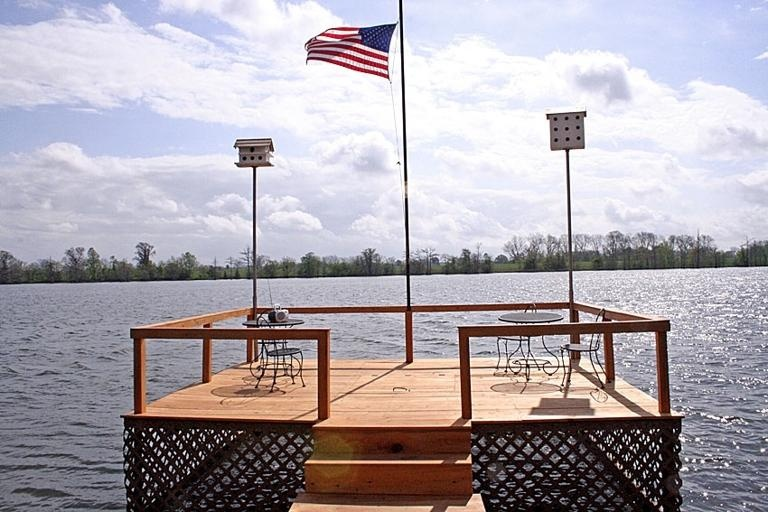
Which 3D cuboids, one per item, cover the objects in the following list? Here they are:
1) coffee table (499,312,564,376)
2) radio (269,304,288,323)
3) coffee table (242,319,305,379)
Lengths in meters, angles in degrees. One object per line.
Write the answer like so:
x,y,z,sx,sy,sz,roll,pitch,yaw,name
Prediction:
4.220,2.577,20.603,1.963,1.497,1.751,-6,-4,28,coffee table
-2.912,1.623,19.968,0.517,0.409,0.738,1,-2,-10,radio
-3.060,2.588,20.392,1.653,1.732,1.518,4,-5,-18,coffee table
